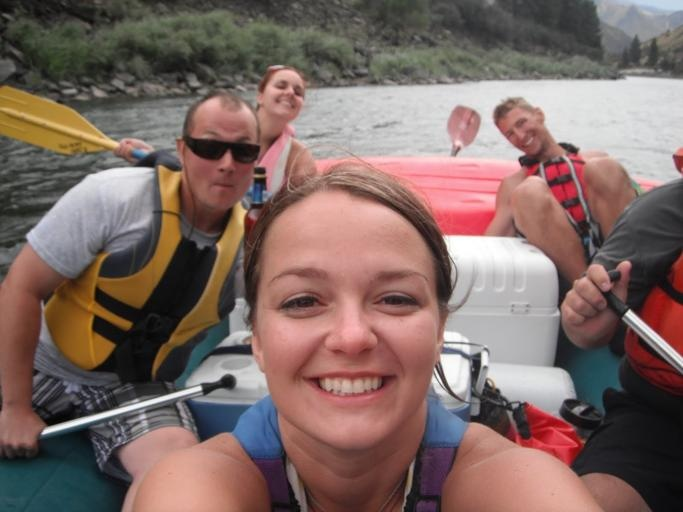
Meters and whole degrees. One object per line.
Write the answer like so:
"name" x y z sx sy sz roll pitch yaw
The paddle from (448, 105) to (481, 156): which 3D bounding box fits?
"paddle" 0.882 -0.946 4.409 0.144 0.409 0.059 24 32 12
